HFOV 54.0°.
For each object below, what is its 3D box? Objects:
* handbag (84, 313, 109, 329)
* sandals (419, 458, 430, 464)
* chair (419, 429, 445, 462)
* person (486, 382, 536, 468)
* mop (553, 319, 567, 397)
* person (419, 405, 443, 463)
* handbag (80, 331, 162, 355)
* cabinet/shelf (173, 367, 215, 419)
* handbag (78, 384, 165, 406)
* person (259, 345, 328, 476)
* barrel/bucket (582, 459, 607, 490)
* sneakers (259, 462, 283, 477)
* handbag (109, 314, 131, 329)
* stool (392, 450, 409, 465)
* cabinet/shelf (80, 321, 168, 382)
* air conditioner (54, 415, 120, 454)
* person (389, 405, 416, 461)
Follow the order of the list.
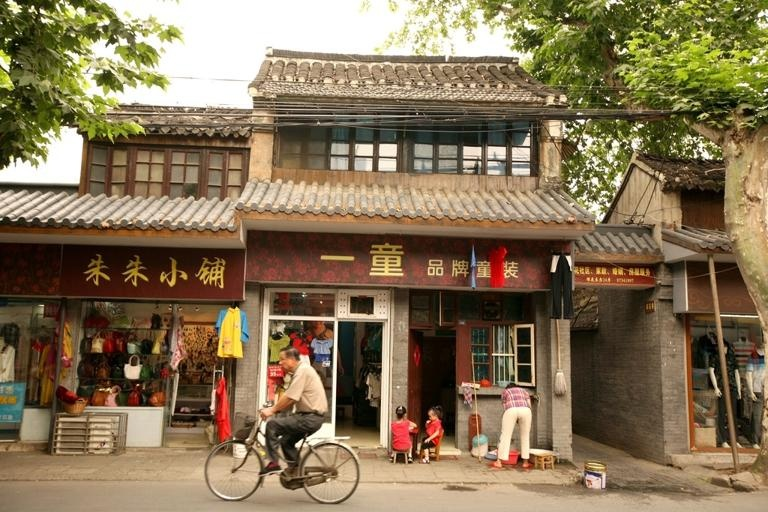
[{"bbox_3d":[-6.603,1.457,17.317,0.368,0.248,0.371,12,6,28],"label":"handbag"},{"bbox_3d":[0.903,4.423,16.267,0.192,0.097,0.154,0,7,-10],"label":"sandals"},{"bbox_3d":[1.048,4.208,16.656,0.630,0.922,0.543,2,-10,-7],"label":"chair"},{"bbox_3d":[2.758,3.706,16.214,0.873,1.715,0.521,1,7,-4],"label":"person"},{"bbox_3d":[3.981,2.307,16.930,0.351,1.721,0.460,3,7,11],"label":"mop"},{"bbox_3d":[1.030,3.840,16.564,0.456,1.231,0.914,2,7,4],"label":"person"},{"bbox_3d":[-6.083,2.014,17.538,1.725,0.554,0.583,-2,3,-7],"label":"handbag"},{"bbox_3d":[-4.519,3.295,17.870,1.171,1.088,0.409,3,-18,-8],"label":"cabinet/shelf"},{"bbox_3d":[-5.946,3.259,17.502,1.987,0.720,0.603,2,-32,-8],"label":"handbag"},{"bbox_3d":[-1.627,2.832,13.717,1.152,2.252,0.533,0,7,-9],"label":"person"},{"bbox_3d":[4.228,4.393,15.134,0.479,0.511,0.406,3,7,14],"label":"barrel/bucket"},{"bbox_3d":[-2.031,3.849,13.576,0.430,0.196,0.185,-1,-11,5],"label":"sneakers"},{"bbox_3d":[-6.112,1.524,17.516,0.365,0.271,0.338,-3,-7,3],"label":"handbag"},{"bbox_3d":[0.376,4.374,16.317,0.327,0.199,0.325,1,-19,-2],"label":"stool"},{"bbox_3d":[-6.059,2.289,17.526,2.374,1.236,1.603,0,-3,-11],"label":"cabinet/shelf"},{"bbox_3d":[-6.486,3.972,16.717,1.441,0.861,0.861,0,-12,2],"label":"air conditioner"},{"bbox_3d":[0.426,3.836,16.356,0.541,1.220,0.437,2,7,2],"label":"person"}]
